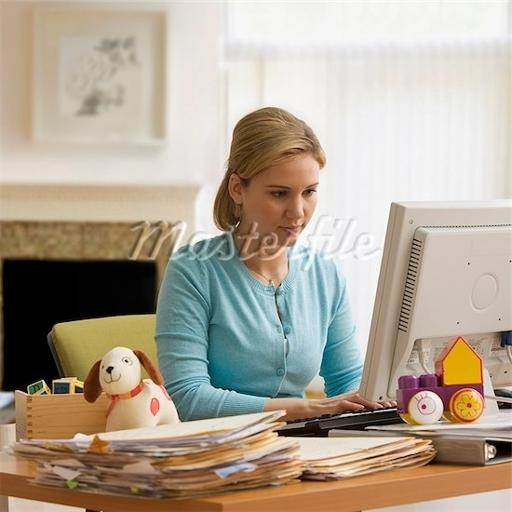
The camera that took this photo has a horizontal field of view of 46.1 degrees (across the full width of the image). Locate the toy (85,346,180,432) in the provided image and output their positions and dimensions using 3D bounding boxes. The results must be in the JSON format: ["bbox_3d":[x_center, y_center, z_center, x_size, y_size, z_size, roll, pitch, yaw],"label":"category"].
[{"bbox_3d":[-0.176,0.211,0.874,0.122,0.120,0.169,-8,-27,13],"label":"toy"}]

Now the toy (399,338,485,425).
[{"bbox_3d":[0.258,0.175,0.846,0.120,0.113,0.060,-2,-7,-3],"label":"toy"}]
